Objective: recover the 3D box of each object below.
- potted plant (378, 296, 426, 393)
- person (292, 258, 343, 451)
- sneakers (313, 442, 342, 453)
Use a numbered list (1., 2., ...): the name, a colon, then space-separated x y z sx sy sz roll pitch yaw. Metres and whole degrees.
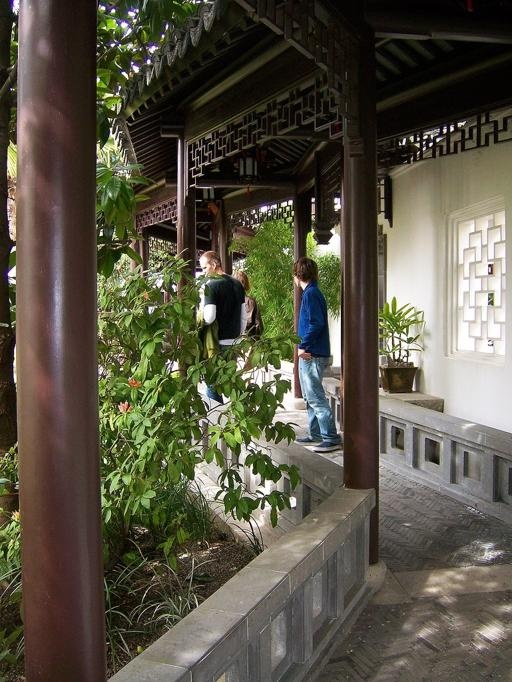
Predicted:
1. potted plant: 1.377 0.036 5.561 0.511 0.917 0.529 -5 0 24
2. person: 0.470 0.093 4.210 0.348 1.520 0.621 -2 -1 4
3. sneakers: 0.552 0.818 4.244 0.221 0.099 0.082 5 -7 -30
